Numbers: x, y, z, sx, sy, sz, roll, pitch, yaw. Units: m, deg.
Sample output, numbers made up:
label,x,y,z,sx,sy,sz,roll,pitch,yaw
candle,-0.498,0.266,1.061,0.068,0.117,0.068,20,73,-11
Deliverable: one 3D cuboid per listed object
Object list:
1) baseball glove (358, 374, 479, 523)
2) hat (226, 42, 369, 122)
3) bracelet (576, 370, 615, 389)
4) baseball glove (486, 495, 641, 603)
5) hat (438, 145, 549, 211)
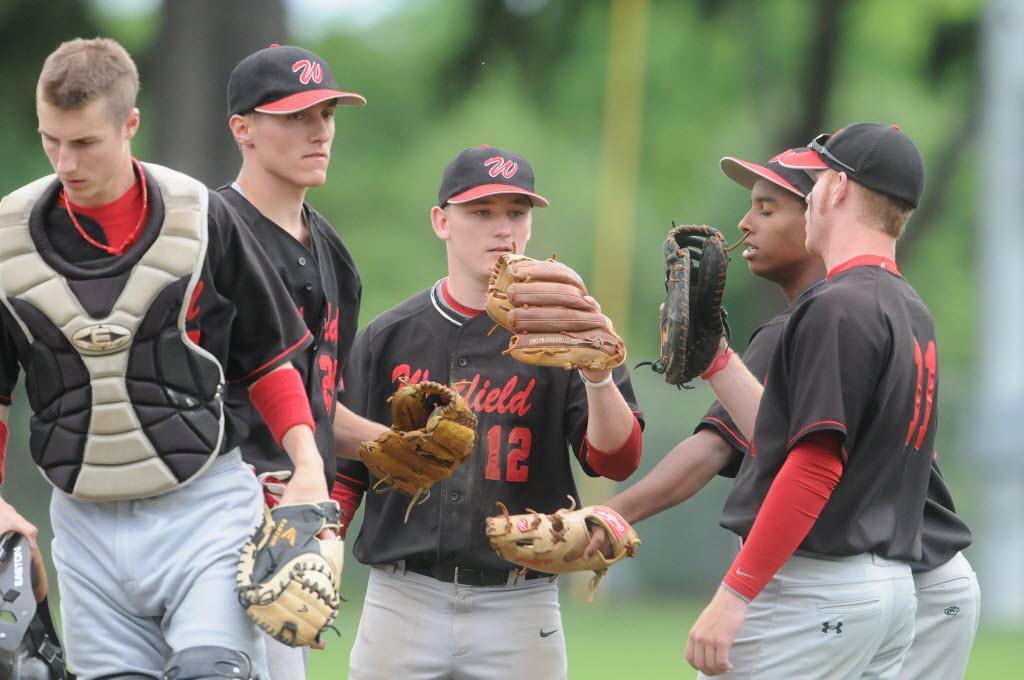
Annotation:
label,x,y,z,sx,sy,sz,roll,pitch,yaw
baseball glove,-0.455,0.549,7.943,0.494,0.666,0.322,39,16,-7
hat,-1.227,-1.337,8.015,0.507,0.271,0.398,-14,2,33
bracelet,0.437,0.209,7.906,0.167,0.084,0.118,1,-3,-3
baseball glove,0.258,1.033,7.974,0.701,0.332,0.378,3,20,-8
hat,-0.174,-0.835,8.396,0.359,0.232,0.442,3,-6,-40
